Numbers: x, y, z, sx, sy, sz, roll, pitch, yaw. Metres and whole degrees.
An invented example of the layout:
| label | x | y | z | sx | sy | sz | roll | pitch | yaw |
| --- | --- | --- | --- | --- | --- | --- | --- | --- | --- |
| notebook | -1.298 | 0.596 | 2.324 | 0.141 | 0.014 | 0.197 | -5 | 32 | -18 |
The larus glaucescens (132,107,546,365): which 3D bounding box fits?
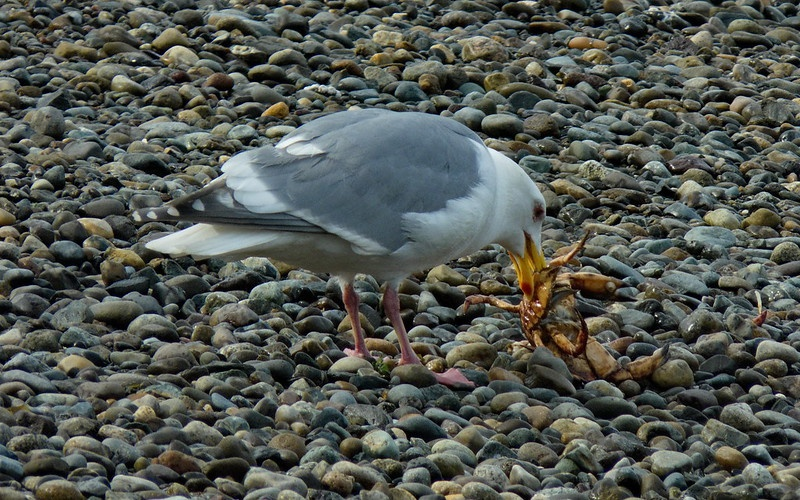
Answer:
| label | x | y | z | sx | sy | sz | roll | pitch | yaw |
| --- | --- | --- | --- | --- | --- | --- | --- | --- | --- |
| larus glaucescens | -0.454 | -0.371 | 12.257 | 4.575 | 1.868 | 1.731 | 3 | -4 | -12 |
